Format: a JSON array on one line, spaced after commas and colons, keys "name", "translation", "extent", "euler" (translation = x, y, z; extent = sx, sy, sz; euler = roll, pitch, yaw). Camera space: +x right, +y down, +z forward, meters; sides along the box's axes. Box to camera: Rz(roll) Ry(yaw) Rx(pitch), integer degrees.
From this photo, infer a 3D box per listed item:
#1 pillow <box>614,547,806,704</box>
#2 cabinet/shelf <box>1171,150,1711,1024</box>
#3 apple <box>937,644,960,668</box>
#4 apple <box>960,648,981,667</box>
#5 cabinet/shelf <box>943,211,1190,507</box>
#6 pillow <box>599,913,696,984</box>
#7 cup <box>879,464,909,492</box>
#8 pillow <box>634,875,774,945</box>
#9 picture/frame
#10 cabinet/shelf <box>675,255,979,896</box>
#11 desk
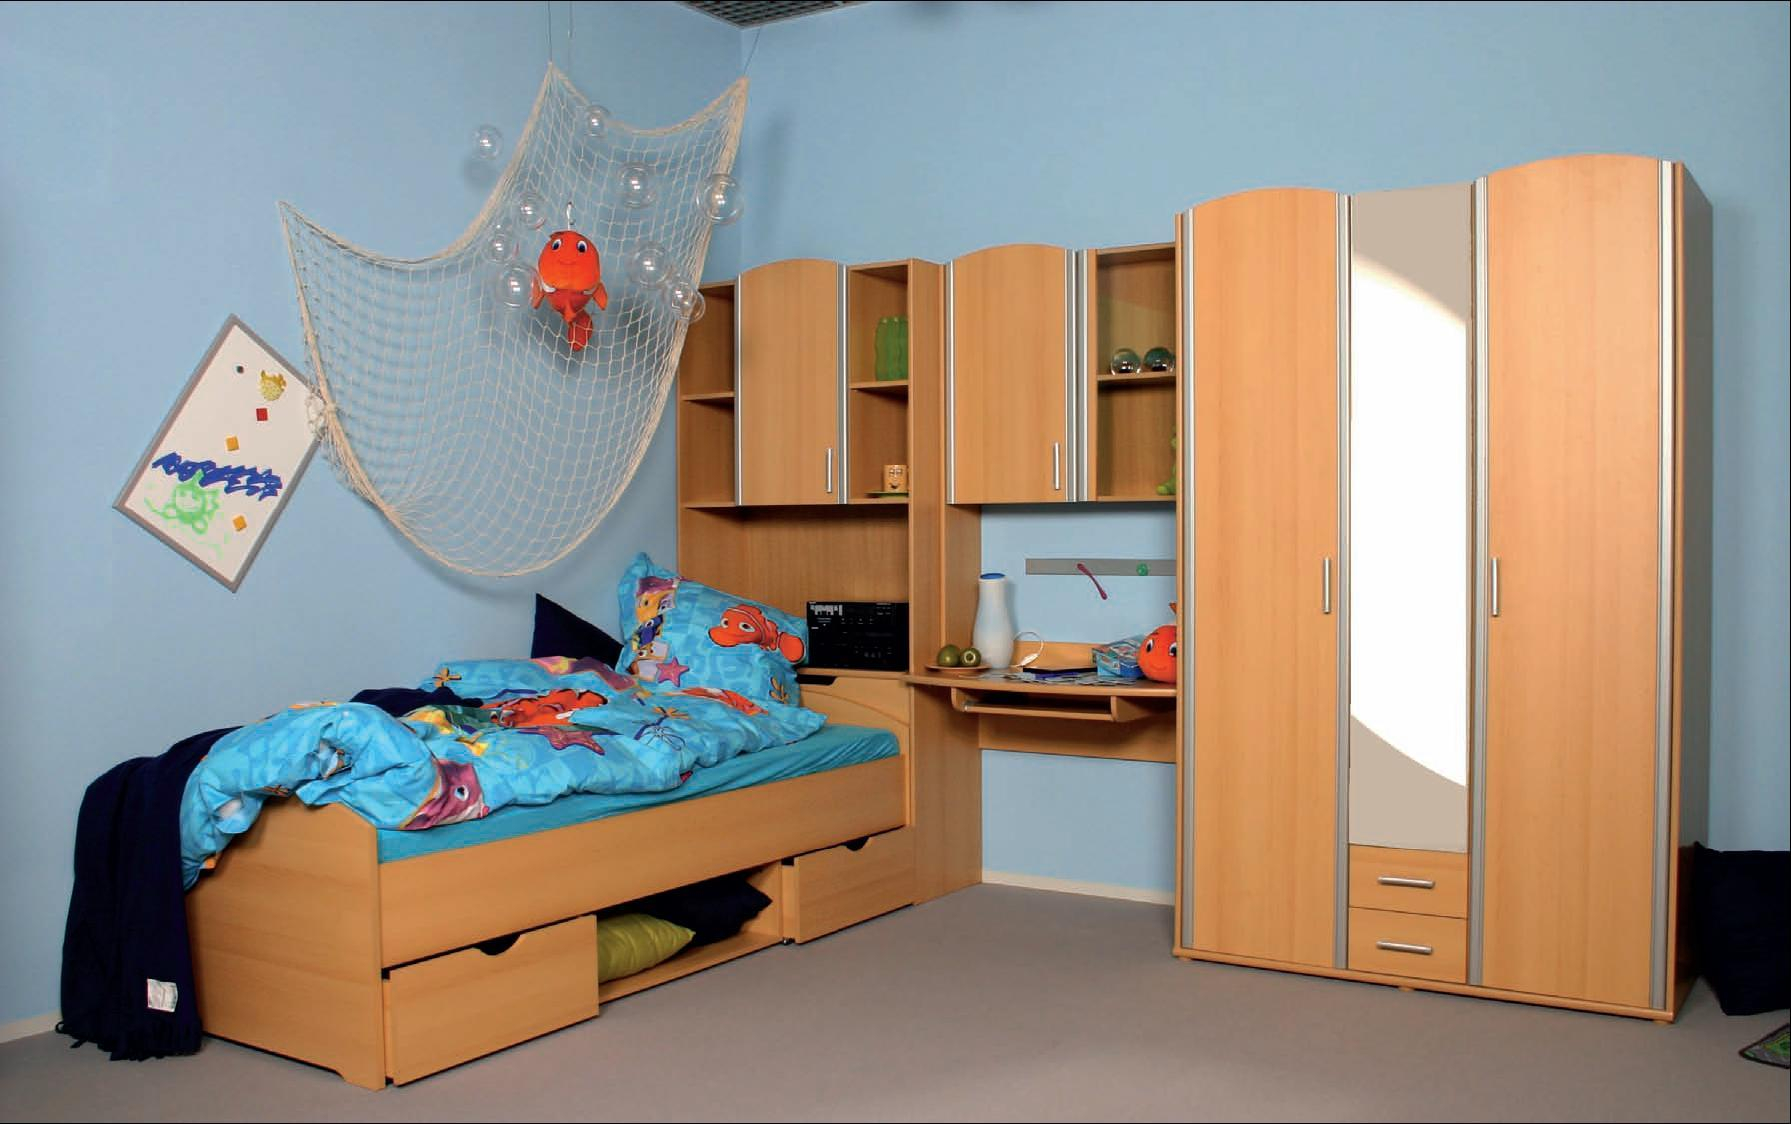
[{"name": "pillow", "translation": [-0.733, 0.299, 5.257], "extent": [0.632, 0.176, 0.539], "euler": [23, 37, -5]}, {"name": "cabinet/shelf", "translation": [1.794, 0.057, 4.457], "extent": [1.586, 2.734, 0.420], "euler": [3, 9, 19]}, {"name": "apple", "translation": [0.218, 0.393, 5.359], "extent": [0.086, 0.087, 0.107], "euler": [-5, 10, -33]}, {"name": "apple", "translation": [0.309, 0.398, 5.329], "extent": [0.058, 0.032, 0.071], "euler": [6, 8, 14]}, {"name": "cabinet/shelf", "translation": [0.690, -0.719, 5.360], "extent": [1.129, 0.954, 0.408], "euler": [-3, 14, -8]}, {"name": "pillow", "translation": [-0.866, 1.354, 4.493], "extent": [0.194, 0.090, 0.323], "euler": [13, 8, 27]}, {"name": "cup", "translation": [0.005, -0.338, 5.488], "extent": [0.107, 0.106, 0.116], "euler": [0, -4, 0]}, {"name": "pillow", "translation": [-0.655, 1.237, 4.739], "extent": [0.375, 0.236, 0.107], "euler": [-2, -1, -34]}, {"name": "picture/frame", "translation": [-2.288, -0.375, 4.461], "extent": [0.695, 0.928, 0.047], "euler": [37, -14, -38]}, {"name": "cabinet/shelf", "translation": [-0.274, -0.033, 5.718], "extent": [1.108, 2.207, 0.480], "euler": [2, 14, 26]}, {"name": "desk", "translation": [0.584, 0.635, 5.275], "extent": [1.059, 0.452, 0.632], "euler": [2, 8, 13]}]
